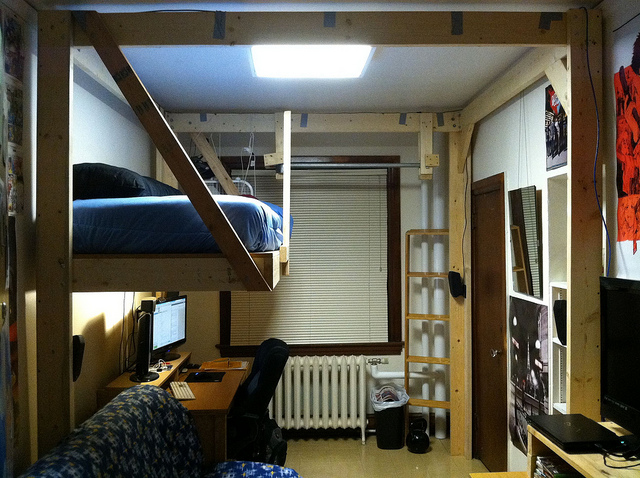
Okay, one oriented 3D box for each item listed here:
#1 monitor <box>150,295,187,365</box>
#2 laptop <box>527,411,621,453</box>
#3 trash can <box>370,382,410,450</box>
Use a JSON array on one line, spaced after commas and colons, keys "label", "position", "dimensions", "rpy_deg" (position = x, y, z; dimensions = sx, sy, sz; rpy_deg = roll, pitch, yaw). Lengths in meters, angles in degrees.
[{"label": "monitor", "position": [-1.138, 0.673, 4.210], "dimensions": [0.155, 0.488, 0.631], "rpy_deg": [0, -2, 9]}, {"label": "laptop", "position": [1.227, 0.934, 2.716], "dimensions": [0.325, 0.040, 0.245], "rpy_deg": [4, 14, -25]}, {"label": "trash can", "position": [0.491, 1.466, 4.670], "dimensions": [0.384, 0.534, 0.408], "rpy_deg": [0, -5, -1]}]
